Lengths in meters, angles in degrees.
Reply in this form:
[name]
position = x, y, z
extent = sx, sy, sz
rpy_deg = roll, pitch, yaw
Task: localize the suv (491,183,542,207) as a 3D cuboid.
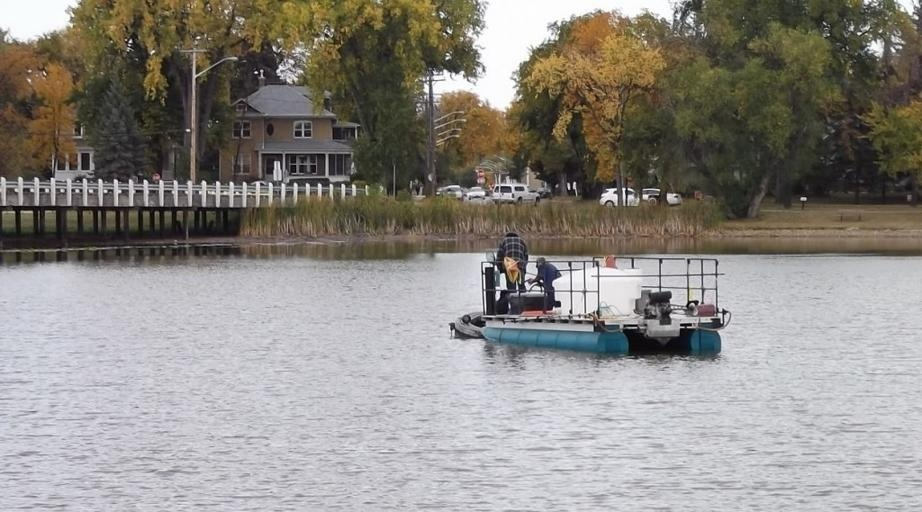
[suv]
position = 5.992, -6.142, 184.695
extent = 2.309, 1.309, 4.187
rpy_deg = 5, 8, 38
